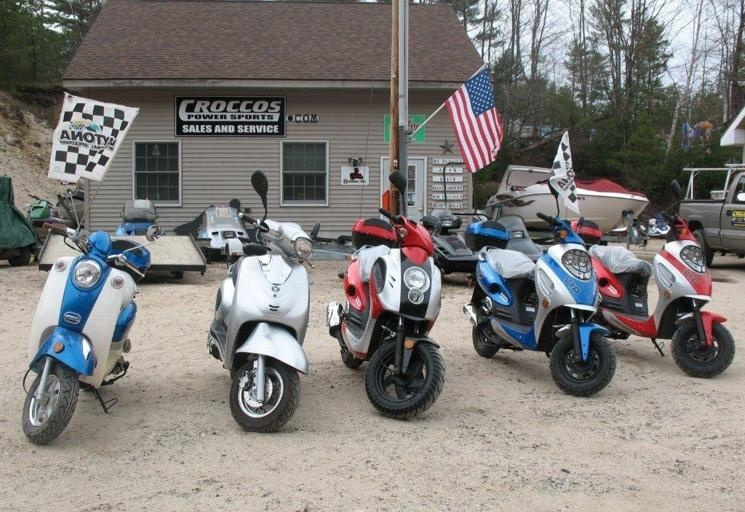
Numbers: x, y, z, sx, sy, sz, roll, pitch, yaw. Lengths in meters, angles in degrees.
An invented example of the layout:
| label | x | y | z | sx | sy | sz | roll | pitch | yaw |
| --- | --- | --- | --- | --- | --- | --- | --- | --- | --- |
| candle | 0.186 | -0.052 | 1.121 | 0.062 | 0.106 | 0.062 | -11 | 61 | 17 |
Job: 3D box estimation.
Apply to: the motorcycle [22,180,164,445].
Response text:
| label | x | y | z | sx | sy | sz | roll | pitch | yaw |
| --- | --- | --- | --- | --- | --- | --- | --- | --- | --- |
| motorcycle | -2.955 | 0.640 | 8.308 | 1.165 | 1.947 | 2.942 | 17 | 4 | -8 |

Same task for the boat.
| label | x | y | z | sx | sy | sz | roll | pitch | yaw |
| --- | --- | --- | --- | --- | --- | --- | --- | --- | --- |
| boat | 4.962 | -1.465 | 20.746 | 3.639 | 1.746 | 2.569 | 6 | 3 | 11 |

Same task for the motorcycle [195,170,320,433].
| label | x | y | z | sx | sy | sz | roll | pitch | yaw |
| --- | --- | --- | --- | --- | --- | --- | --- | --- | --- |
| motorcycle | -1.033 | 0.678 | 7.680 | 0.856 | 1.890 | 0.988 | -1 | 13 | -5 |

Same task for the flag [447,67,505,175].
| label | x | y | z | sx | sy | sz | roll | pitch | yaw |
| --- | --- | --- | --- | --- | --- | --- | --- | --- | --- |
| flag | 1.790 | -2.418 | 14.038 | 0.983 | 1.870 | 0.805 | 0 | 13 | 1 |
